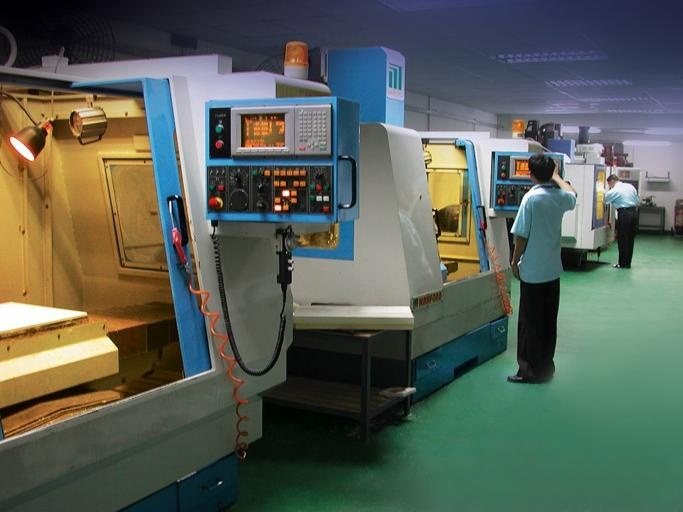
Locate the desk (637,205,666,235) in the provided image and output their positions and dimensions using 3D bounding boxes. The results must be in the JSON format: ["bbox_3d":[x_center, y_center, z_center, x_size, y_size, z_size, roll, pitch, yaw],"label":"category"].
[{"bbox_3d":[10.891,-1.251,17.213,1.052,1.196,0.864,-1,-1,22],"label":"desk"}]

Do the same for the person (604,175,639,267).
[{"bbox_3d":[5.725,-0.614,9.964,0.464,1.684,0.607,-3,12,-7],"label":"person"}]

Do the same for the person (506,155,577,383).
[{"bbox_3d":[1.698,0.113,4.226,0.614,1.918,0.373,-11,15,-40],"label":"person"}]

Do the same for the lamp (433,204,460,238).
[{"bbox_3d":[1.214,-0.402,5.655,0.305,0.384,0.137,1,12,10],"label":"lamp"}]

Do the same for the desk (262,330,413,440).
[{"bbox_3d":[-0.114,0.878,3.669,1.066,0.679,0.864,-1,-5,25],"label":"desk"}]
